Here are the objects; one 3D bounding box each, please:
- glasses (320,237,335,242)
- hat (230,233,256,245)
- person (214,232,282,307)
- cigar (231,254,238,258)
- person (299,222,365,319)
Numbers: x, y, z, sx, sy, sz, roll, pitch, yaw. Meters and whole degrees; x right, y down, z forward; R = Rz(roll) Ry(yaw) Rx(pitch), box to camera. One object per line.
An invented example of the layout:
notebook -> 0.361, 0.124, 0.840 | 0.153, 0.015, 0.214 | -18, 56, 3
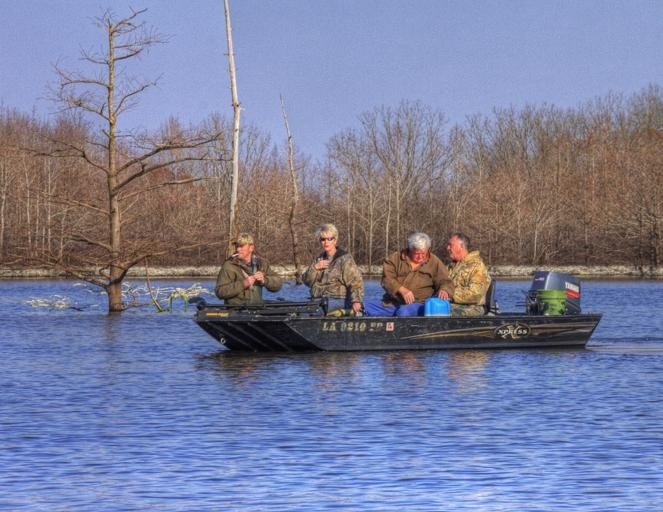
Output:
glasses -> -0.048, -0.291, 20.663 | 0.228, 0.081, 0.141 | 2, -2, -11
hat -> -1.462, -0.288, 20.393 | 0.280, 0.225, 0.482 | 2, -2, 0
person -> -1.415, 0.214, 20.591 | 1.000, 1.168, 0.907 | 0, -3, 42
cigar -> -1.635, -0.018, 20.554 | 0.107, 0.084, 0.220 | 2, -2, -5
person -> 0.083, 0.226, 20.972 | 1.035, 1.553, 0.860 | 3, -2, -9
